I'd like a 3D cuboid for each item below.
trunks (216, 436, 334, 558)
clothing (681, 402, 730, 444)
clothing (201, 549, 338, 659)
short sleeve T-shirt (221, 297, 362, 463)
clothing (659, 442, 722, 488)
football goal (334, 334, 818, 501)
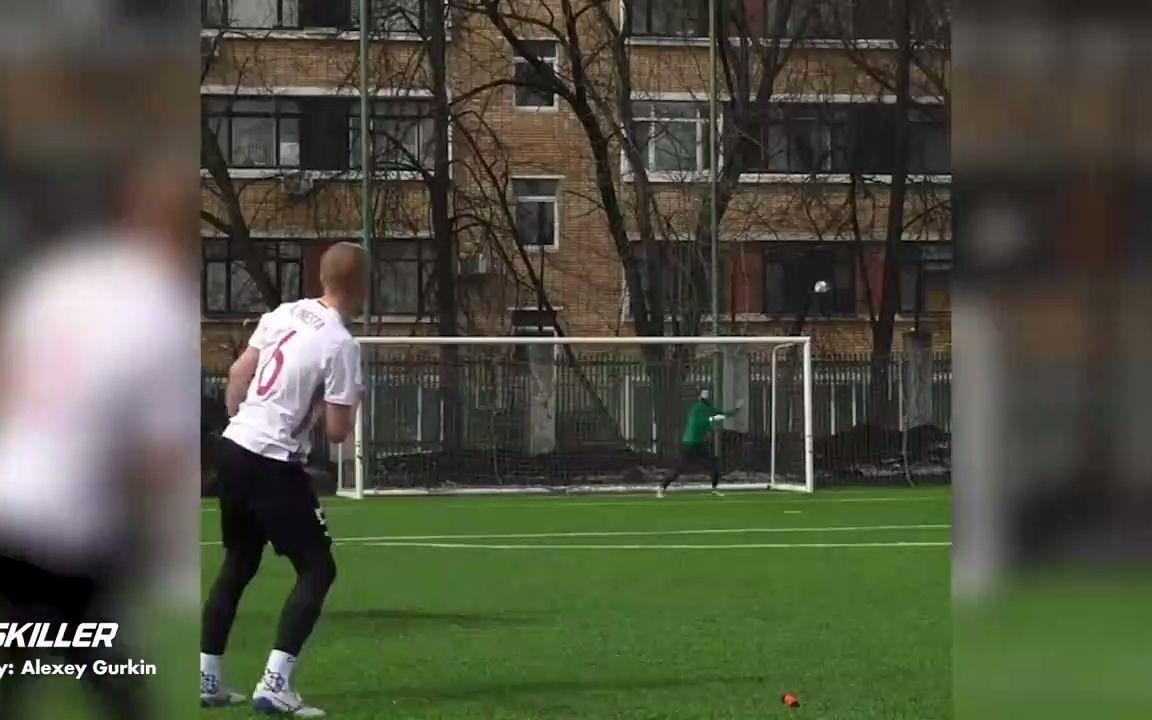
[{"bbox_3d":[-1.420,0.631,7.078,0.301,0.489,0.499,11,3,-7],"label":"trunks"},{"bbox_3d":[1.570,0.791,19.903,0.485,0.493,0.276,5,-8,42],"label":"clothing"},{"bbox_3d":[-1.459,1.185,7.701,0.430,0.723,0.245,19,-3,21],"label":"clothing"},{"bbox_3d":[-1.212,0.083,6.913,0.567,0.498,0.227,1,0,18],"label":"short sleeve T-shirt"},{"bbox_3d":[1.382,1.286,19.854,1.071,0.606,0.284,-4,0,-35],"label":"clothing"},{"bbox_3d":[0.121,0.554,21.375,5.825,2.135,1.832,0,4,14],"label":"football goal"}]
